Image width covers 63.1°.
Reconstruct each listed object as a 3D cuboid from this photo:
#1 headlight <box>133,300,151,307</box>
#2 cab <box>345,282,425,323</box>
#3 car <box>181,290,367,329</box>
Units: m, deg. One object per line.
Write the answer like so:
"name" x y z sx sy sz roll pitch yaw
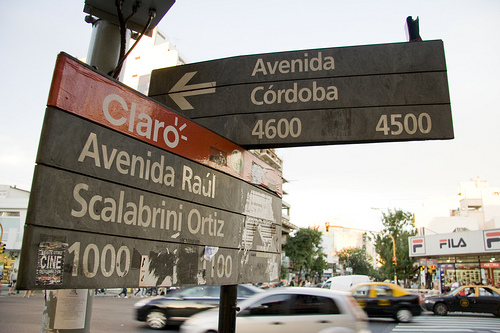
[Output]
"headlight" -3.524 4.460 13.281 0.542 0.148 0.295 -4 -7 -4
"cab" 5.737 5.741 17.394 3.126 1.187 1.494 0 -20 9
"car" 1.115 3.224 9.270 2.714 0.797 0.634 -3 -17 12
